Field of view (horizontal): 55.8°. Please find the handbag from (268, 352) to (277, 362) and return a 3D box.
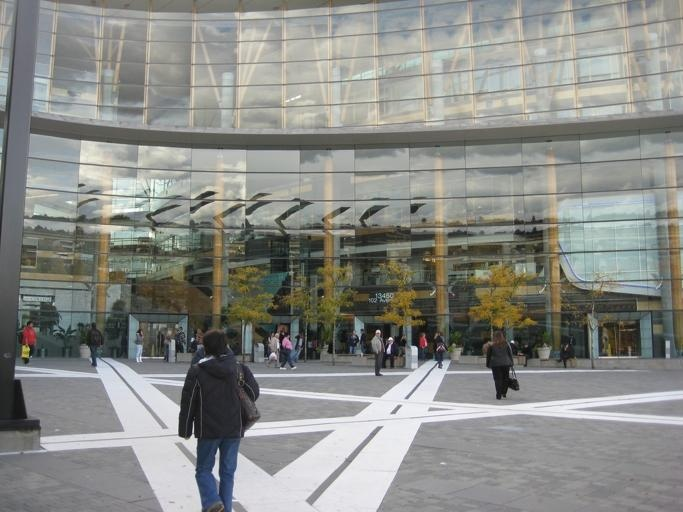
[{"bbox_3d":[-3.473,5.132,32.849,0.360,0.540,1.177,0,-5,-9],"label":"handbag"}]
